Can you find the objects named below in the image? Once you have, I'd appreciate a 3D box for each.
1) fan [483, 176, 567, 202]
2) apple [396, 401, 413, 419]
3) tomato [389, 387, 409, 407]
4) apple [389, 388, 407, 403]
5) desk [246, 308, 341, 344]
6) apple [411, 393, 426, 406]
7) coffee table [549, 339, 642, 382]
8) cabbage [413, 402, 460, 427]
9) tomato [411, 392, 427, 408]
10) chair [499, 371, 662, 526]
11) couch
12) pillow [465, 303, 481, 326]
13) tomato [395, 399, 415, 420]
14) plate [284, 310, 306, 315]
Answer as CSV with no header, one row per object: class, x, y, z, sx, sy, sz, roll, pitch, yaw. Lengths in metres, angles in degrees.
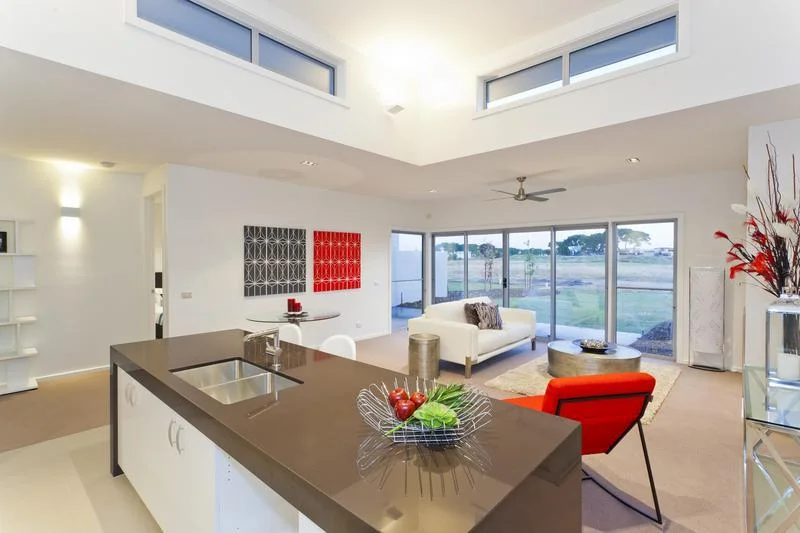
fan,2.091,-1.182,7.887,1.383,0.445,0.695,5,0,38
apple,0.030,0.953,3.253,0.118,0.118,0.112,1,-6,-5
tomato,-0.010,0.888,3.294,0.122,0.122,0.121,-1,-1,-5
apple,-0.014,0.868,3.309,0.093,0.087,0.093,-1,-2,-5
desk,-1.313,0.676,6.388,1.120,0.463,0.881,5,0,32
apple,0.127,0.894,3.302,0.078,0.077,0.077,-1,-5,0
coffee table,2.581,1.183,6.512,1.135,0.453,1.029,4,3,39
cabbage,0.238,0.983,3.217,0.189,0.076,0.198,2,6,-17
tomato,0.128,0.902,3.299,0.086,0.088,0.086,0,-6,-4
chair,1.702,1.472,4.776,1.030,1.271,1.544,0,-2,-16
couch,1.281,0.988,7.892,1.104,0.878,2.213,4,4,40
pillow,1.137,0.740,7.734,0.275,0.277,0.121,-7,-14,24
tomato,0.030,0.954,3.254,0.127,0.127,0.121,0,-7,-4
plate,-1.333,0.590,6.217,0.265,0.063,0.315,-2,-1,-13
